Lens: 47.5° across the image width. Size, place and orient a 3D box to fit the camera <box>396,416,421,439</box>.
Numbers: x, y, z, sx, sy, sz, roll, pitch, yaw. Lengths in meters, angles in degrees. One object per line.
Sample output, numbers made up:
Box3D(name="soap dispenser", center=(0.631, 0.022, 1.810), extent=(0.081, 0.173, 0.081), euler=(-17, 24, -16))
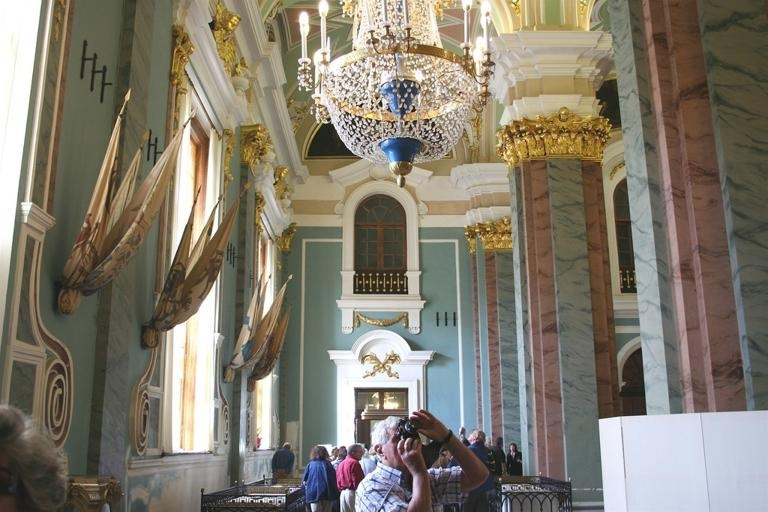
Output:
Box3D(name="camera", center=(0.153, 1.088, 5.487), extent=(0.136, 0.148, 0.116), euler=(-8, -20, 13))
